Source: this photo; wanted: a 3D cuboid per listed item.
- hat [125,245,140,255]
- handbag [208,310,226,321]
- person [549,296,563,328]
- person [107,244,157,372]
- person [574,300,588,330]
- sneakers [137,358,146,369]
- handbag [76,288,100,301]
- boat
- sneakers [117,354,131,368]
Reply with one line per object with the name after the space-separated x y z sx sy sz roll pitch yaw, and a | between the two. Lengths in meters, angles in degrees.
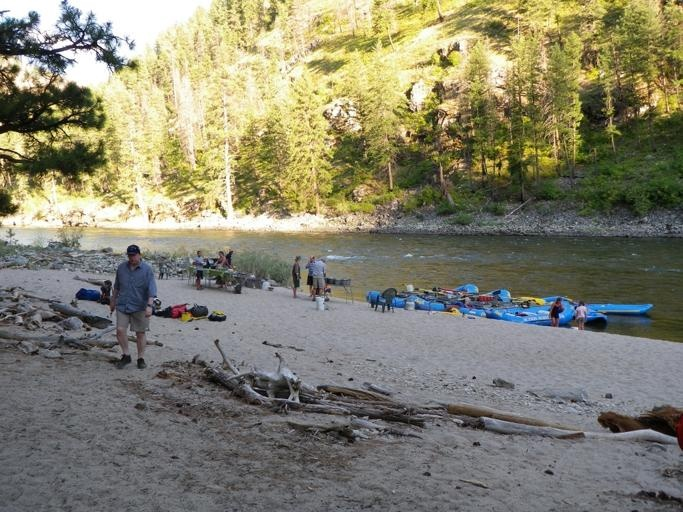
-4.226 -0.127 11.043 0.277 0.144 0.332 0 -6 -10 | hat
-3.769 1.771 16.384 0.376 0.118 0.341 1 4 -24 | handbag
7.838 2.106 20.173 0.448 1.091 1.325 8 11 22 | person
-4.270 0.996 11.195 0.832 2.449 1.031 0 12 -19 | person
8.675 2.209 20.017 0.412 1.104 1.824 9 11 25 | person
-4.065 2.139 11.086 0.159 0.183 0.220 -1 10 -20 | sneakers
-8.223 1.244 17.588 0.602 0.194 0.549 1 -1 36 | handbag
6.340 1.884 21.449 10.213 1.224 3.750 3 8 5 | boat
-4.419 2.079 11.072 0.193 0.233 0.399 4 9 3 | sneakers
